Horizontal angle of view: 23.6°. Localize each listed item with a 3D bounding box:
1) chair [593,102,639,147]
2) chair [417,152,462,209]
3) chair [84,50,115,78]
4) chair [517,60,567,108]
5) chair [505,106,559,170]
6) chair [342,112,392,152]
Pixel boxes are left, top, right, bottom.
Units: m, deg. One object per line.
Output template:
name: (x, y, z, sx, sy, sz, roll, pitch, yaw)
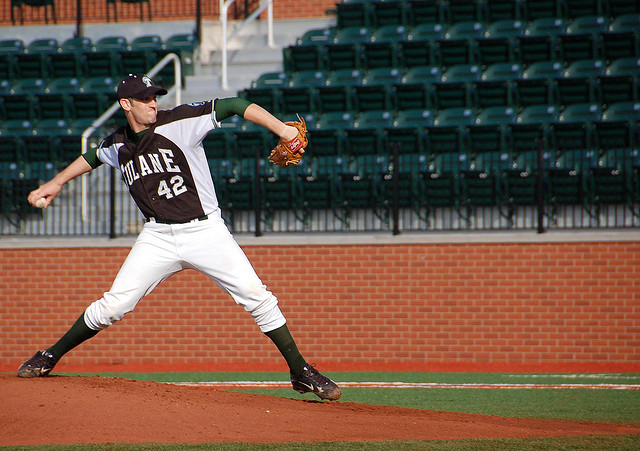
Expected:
chair: (5.202, -1.767, 26.737, 0.831, 0.773, 1.998, -1, 3, 10)
chair: (2.068, -0.795, 26.436, 0.765, 0.917, 1.533, -2, 3, 5)
chair: (-4.370, -3.209, 30.644, 0.678, 0.664, 0.505, 2, 14, 7)
chair: (4.105, -2.631, 28.216, 0.881, 0.882, 0.899, -2, 3, 9)
chair: (3.930, -1.785, 27.470, 0.954, 0.555, 1.284, 16, 19, 23)
chair: (0.845, -1.837, 27.584, 0.849, 0.951, 0.850, 2, 40, 4)
